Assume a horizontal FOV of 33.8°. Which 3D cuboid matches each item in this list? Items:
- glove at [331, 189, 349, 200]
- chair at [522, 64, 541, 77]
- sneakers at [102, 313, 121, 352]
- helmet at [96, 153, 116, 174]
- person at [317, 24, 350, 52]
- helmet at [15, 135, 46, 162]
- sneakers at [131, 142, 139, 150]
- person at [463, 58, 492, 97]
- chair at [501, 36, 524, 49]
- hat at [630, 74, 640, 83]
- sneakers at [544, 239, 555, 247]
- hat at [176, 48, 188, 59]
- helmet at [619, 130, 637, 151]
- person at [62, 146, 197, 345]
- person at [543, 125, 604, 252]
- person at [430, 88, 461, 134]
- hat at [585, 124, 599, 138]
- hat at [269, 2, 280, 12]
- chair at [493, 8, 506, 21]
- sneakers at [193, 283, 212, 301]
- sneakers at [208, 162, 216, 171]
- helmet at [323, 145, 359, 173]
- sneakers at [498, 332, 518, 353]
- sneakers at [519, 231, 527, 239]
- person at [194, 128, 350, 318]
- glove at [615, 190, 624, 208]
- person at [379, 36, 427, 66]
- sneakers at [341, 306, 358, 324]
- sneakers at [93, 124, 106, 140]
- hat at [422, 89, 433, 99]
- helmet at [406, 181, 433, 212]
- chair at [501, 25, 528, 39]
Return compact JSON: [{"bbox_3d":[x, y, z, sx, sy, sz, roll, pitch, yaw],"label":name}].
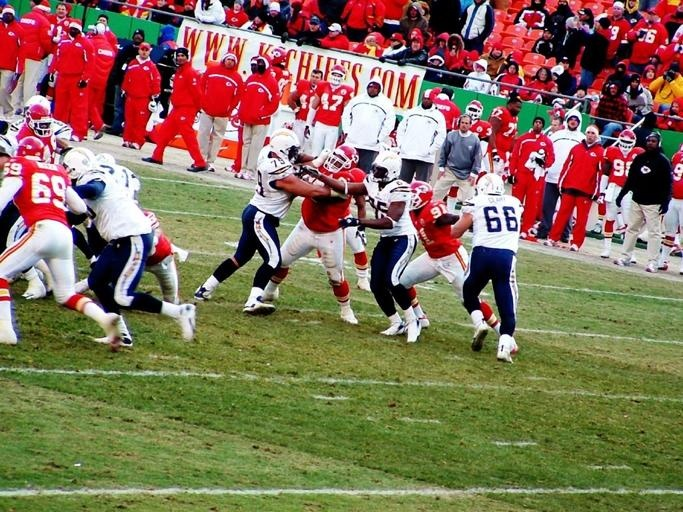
[{"bbox_3d":[-0.031,-0.661,12.305,0.136,0.048,0.099,23,4,4],"label":"glove"},{"bbox_3d":[4.002,-3.923,23.723,0.401,0.441,0.417,2,13,4],"label":"chair"},{"bbox_3d":[-2.125,0.693,10.324,0.126,0.368,0.169,-4,14,-17],"label":"sneakers"},{"bbox_3d":[-2.326,-0.921,11.141,0.245,0.168,0.235,11,6,-21],"label":"helmet"},{"bbox_3d":[-0.114,-4.289,21.897,0.455,0.397,0.750,10,15,28],"label":"person"},{"bbox_3d":[-3.004,-1.016,10.805,0.283,0.212,0.215,1,8,1],"label":"helmet"},{"bbox_3d":[-3.805,-2.006,20.578,0.150,0.074,0.112,33,16,-8],"label":"sneakers"},{"bbox_3d":[2.593,-3.375,21.016,0.533,0.654,1.351,10,3,5],"label":"person"},{"bbox_3d":[3.894,-4.843,25.416,0.429,0.385,0.407,4,29,24],"label":"chair"},{"bbox_3d":[5.413,-3.287,20.722,0.122,0.148,0.157,3,-41,48],"label":"hat"},{"bbox_3d":[3.572,-0.217,19.264,0.117,0.113,0.269,-1,-5,14],"label":"sneakers"},{"bbox_3d":[-2.709,-3.427,19.014,0.171,0.161,0.216,-3,36,-7],"label":"hat"},{"bbox_3d":[4.825,-1.955,18.932,0.272,0.301,0.357,5,21,21],"label":"helmet"},{"bbox_3d":[-2.367,-0.116,11.016,1.184,1.957,1.568,-12,-15,40],"label":"person"},{"bbox_3d":[3.968,-1.119,18.809,0.724,2.112,0.963,11,2,10],"label":"person"},{"bbox_3d":[1.888,-2.552,19.986,0.505,0.814,0.233,10,2,23],"label":"person"},{"bbox_3d":[4.108,-2.080,18.462,0.183,0.210,0.199,3,48,27],"label":"hat"},{"bbox_3d":[-1.402,-5.180,23.377,0.198,0.193,0.259,4,-1,4],"label":"hat"},{"bbox_3d":[3.670,-5.624,26.088,0.260,0.289,0.251,0,9,-1],"label":"chair"},{"bbox_3d":[-1.555,0.417,12.501,0.212,0.186,0.149,4,17,-12],"label":"sneakers"},{"bbox_3d":[-2.343,-1.589,20.089,0.168,0.055,0.182,-1,21,-12],"label":"sneakers"},{"bbox_3d":[0.026,-1.093,12.721,0.272,0.207,0.397,39,32,26],"label":"helmet"},{"bbox_3d":[1.845,0.998,12.404,0.131,0.156,0.365,-9,-37,14],"label":"sneakers"},{"bbox_3d":[3.166,-0.350,19.561,0.101,0.125,0.106,5,-2,-20],"label":"sneakers"},{"bbox_3d":[-0.810,-0.374,12.400,1.259,1.902,0.442,11,2,24],"label":"person"},{"bbox_3d":[4.628,-0.954,18.686,0.089,0.245,0.180,26,43,20],"label":"glove"},{"bbox_3d":[1.200,-3.833,21.506,0.861,0.500,0.619,-24,31,-27],"label":"person"},{"bbox_3d":[0.079,0.695,12.919,0.196,0.181,0.091,15,42,9],"label":"sneakers"},{"bbox_3d":[-4.479,-2.294,20.648,0.235,0.176,0.491,2,-8,-7],"label":"sneakers"},{"bbox_3d":[1.449,-2.706,19.039,0.155,0.202,0.163,6,36,13],"label":"hat"},{"bbox_3d":[0.884,-0.690,12.786,0.336,0.288,0.248,3,4,-6],"label":"helmet"},{"bbox_3d":[3.980,-5.164,25.648,0.452,0.403,0.405,7,17,15],"label":"chair"}]
